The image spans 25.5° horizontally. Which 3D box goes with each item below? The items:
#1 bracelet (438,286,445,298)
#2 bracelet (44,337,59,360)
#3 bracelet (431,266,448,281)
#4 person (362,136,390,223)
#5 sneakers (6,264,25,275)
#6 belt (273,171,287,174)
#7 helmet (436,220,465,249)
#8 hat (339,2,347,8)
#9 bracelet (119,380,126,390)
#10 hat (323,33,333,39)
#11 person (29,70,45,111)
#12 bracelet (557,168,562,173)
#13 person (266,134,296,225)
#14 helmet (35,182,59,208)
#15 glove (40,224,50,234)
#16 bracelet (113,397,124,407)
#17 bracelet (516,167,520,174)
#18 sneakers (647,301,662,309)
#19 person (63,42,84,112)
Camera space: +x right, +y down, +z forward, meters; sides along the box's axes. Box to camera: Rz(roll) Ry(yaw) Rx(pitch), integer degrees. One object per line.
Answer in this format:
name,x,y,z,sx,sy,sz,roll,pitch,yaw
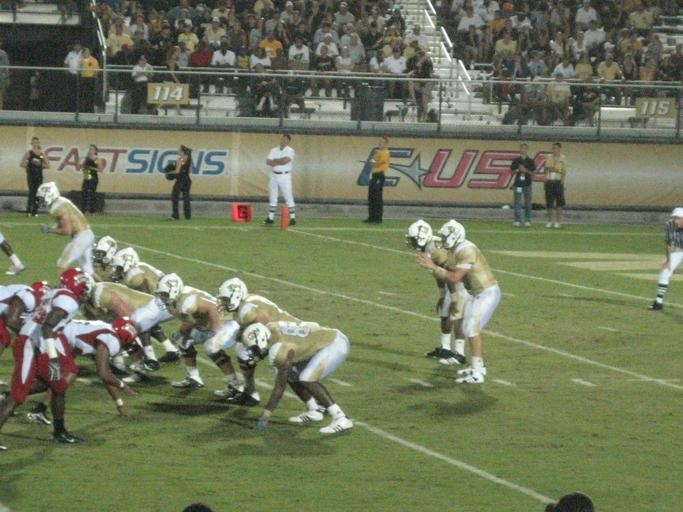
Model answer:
bracelet,2.059,0.737,30.868,0.151,0.160,0.155,-1,0,-12
bracelet,-5.163,1.616,26.713,0.168,0.538,0.179,-23,-40,11
bracelet,1.909,0.330,29.553,0.233,0.163,0.231,-10,8,-23
person,1.008,-2.150,43.130,0.621,2.477,1.249,0,6,0
sneakers,-7.389,0.283,33.993,0.477,0.158,0.201,-4,-17,6
belt,-1.737,-2.329,42.373,0.337,0.093,0.041,0,6,-4
helmet,2.179,-0.468,29.853,0.582,0.564,0.431,4,11,7
hat,0.054,-7.944,48.041,0.208,0.104,0.319,-1,6,3
bracelet,-4.003,2.326,27.484,0.118,0.091,0.159,4,2,-4
hat,-0.415,-6.760,46.516,0.172,0.139,0.217,-1,4,-7
person,-8.855,-4.749,43.597,0.358,1.124,0.410,-1,6,-9
bracelet,6.189,-2.420,43.010,0.152,0.093,0.069,1,6,13
person,-1.760,-2.139,42.419,0.822,2.514,0.958,1,6,10
helmet,-6.389,-1.348,32.716,0.589,0.577,0.434,6,4,23
glove,-6.493,-0.603,33.033,0.172,0.203,0.216,4,-15,-8
bracelet,-4.074,2.642,27.604,0.200,0.183,0.158,-3,1,-6
bracelet,5.016,-2.447,43.030,0.131,0.172,0.054,11,3,16
sneakers,7.138,1.079,34.293,0.265,0.196,0.376,1,6,12
person,-7.823,-5.185,43.908,0.548,1.970,1.457,-1,6,-9
